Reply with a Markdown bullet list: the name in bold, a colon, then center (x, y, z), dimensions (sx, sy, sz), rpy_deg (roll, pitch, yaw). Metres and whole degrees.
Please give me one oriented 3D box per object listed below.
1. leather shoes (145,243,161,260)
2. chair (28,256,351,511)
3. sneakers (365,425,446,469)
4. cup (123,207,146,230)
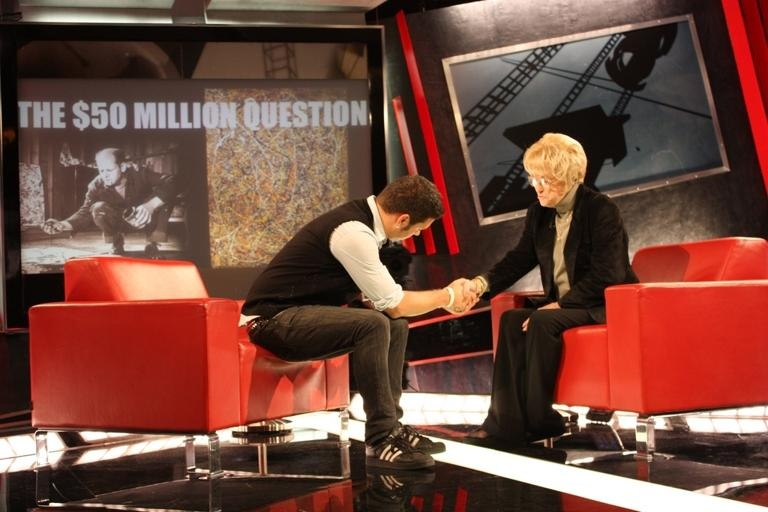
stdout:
- **leather shoes**: center (-1.607, -0.031, 4.809), dimensions (0.090, 0.104, 0.038), rpy_deg (7, -5, -9)
- **chair**: center (-0.890, 0.515, 3.744), dimensions (1.266, 1.235, 1.537), rpy_deg (-4, -5, 25)
- **sneakers**: center (0.081, 0.937, 3.361), dimensions (0.241, 0.093, 0.279), rpy_deg (-1, -4, 6)
- **cup**: center (-1.754, -0.268, 4.862), dimensions (0.155, 0.123, 0.114), rpy_deg (2, -2, 4)
